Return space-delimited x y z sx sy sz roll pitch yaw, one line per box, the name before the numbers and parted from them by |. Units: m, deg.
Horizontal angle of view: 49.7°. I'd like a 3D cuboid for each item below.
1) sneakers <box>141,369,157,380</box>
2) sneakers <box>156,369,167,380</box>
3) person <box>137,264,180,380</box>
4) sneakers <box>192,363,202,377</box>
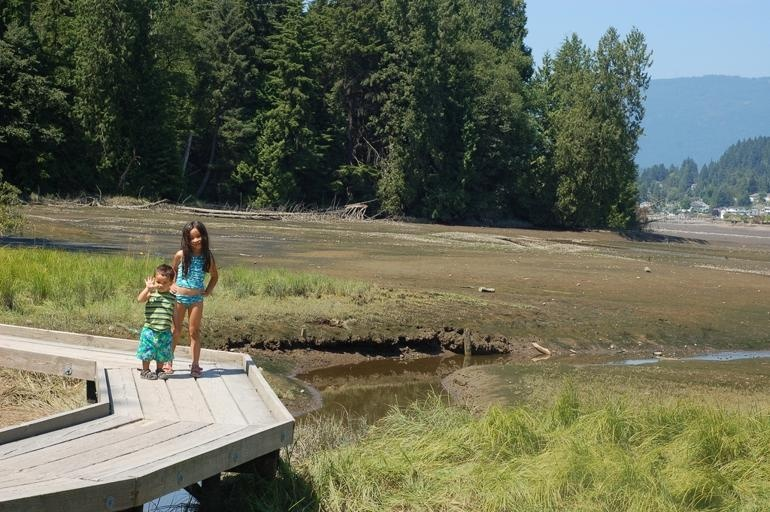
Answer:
sneakers | -4.634 2.323 16.221 0.304 0.143 0.146 0 4 29
sneakers | -4.378 2.320 16.252 0.239 0.168 0.125 4 3 -9
person | -4.530 1.284 16.433 0.726 2.207 0.716 3 3 -18
sneakers | -3.755 2.274 16.462 0.202 0.263 0.132 3 3 -11
